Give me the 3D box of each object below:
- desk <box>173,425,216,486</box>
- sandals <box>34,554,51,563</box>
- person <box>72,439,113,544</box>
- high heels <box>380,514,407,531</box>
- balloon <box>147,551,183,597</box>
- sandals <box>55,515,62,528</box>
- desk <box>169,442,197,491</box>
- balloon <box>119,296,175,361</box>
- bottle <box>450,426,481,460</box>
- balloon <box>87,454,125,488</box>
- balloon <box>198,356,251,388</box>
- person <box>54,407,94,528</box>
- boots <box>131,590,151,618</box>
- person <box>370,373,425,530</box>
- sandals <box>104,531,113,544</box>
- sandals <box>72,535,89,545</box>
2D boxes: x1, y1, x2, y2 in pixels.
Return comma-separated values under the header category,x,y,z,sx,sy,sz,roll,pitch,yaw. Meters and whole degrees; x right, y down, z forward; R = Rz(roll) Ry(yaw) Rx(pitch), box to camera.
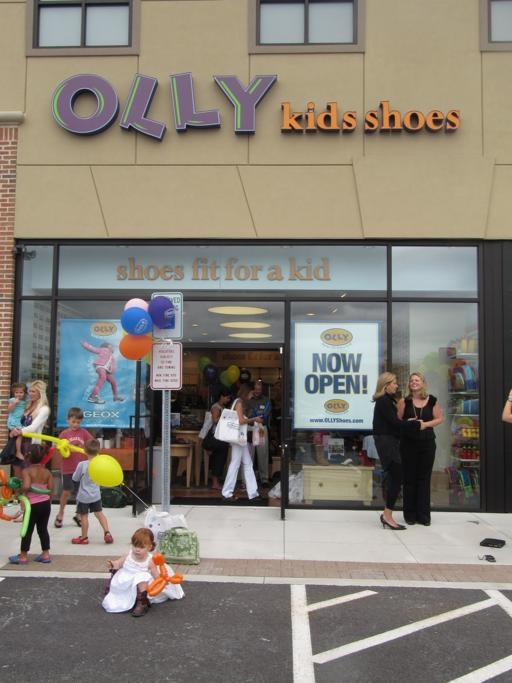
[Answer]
category,x,y,z,sx,sy,sz,roll,pitch,yaw
desk,-1.037,2.062,11.209,0.778,0.769,0.828,13,-14,17
sandals,-1.911,1.971,5.730,0.062,0.078,0.168,5,-2,-42
person,-1.680,1.565,6.660,0.430,1.132,0.376,3,7,6
high heels,1.596,2.125,7.431,0.331,0.176,0.118,-4,-5,18
balloon,-0.672,1.719,4.637,0.229,0.371,0.501,2,-3,-10
sandals,-2.271,2.088,7.336,0.102,0.083,0.288,7,-8,-22
desk,-1.348,2.109,10.797,0.502,0.515,0.528,-23,-22,15
balloon,-1.127,-0.142,6.476,0.461,0.623,0.760,3,-4,-28
bottle,2.829,1.379,8.606,0.342,0.455,0.088,0,-4,22
balloon,-1.384,1.208,5.896,0.280,0.283,0.264,0,-3,15
balloon,-0.671,0.488,11.984,0.627,0.497,0.880,-5,-7,2
person,-2.147,1.449,7.297,0.419,1.280,0.396,-10,-24,37
boots,-0.812,1.878,4.521,0.075,0.160,0.157,-3,-16,12
person,1.662,1.297,7.578,0.469,1.821,0.562,2,-4,-14
sandals,-1.523,2.038,6.563,0.056,0.070,0.157,0,-32,-5
sandals,-1.818,2.066,6.584,0.130,0.064,0.085,4,-4,8
